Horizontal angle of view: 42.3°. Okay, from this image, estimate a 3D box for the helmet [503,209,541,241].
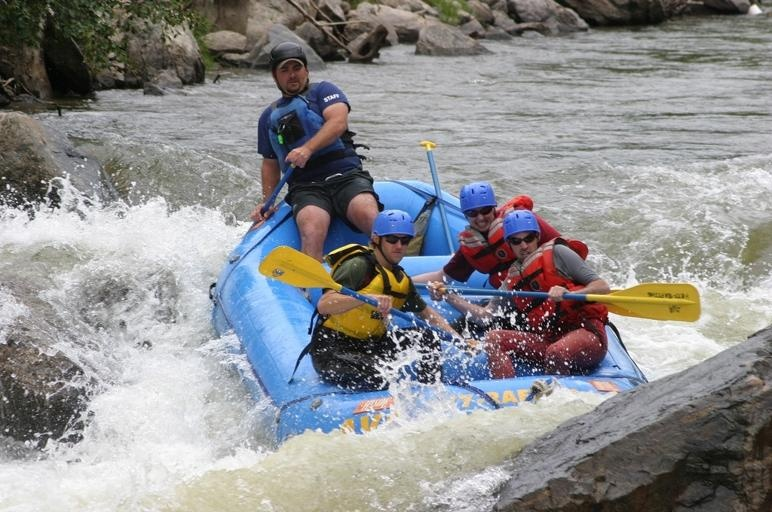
[{"bbox_3d":[1.201,-0.297,8.836,0.248,0.279,0.244,-8,13,4],"label":"helmet"}]

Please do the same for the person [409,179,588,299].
[{"bbox_3d":[0.919,-0.165,9.364,1.302,0.484,1.233,-14,3,-12],"label":"person"}]

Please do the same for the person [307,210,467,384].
[{"bbox_3d":[-0.099,0.364,8.563,1.176,1.383,0.859,-13,24,-29],"label":"person"}]

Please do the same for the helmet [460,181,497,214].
[{"bbox_3d":[0.874,-0.516,9.455,0.283,0.335,0.247,-7,52,6],"label":"helmet"}]

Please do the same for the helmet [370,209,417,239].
[{"bbox_3d":[0.056,-0.277,8.674,0.272,0.156,0.289,5,4,-22],"label":"helmet"}]

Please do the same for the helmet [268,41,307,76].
[{"bbox_3d":[-1.038,-2.058,10.148,0.325,0.356,0.258,-10,66,-24],"label":"helmet"}]

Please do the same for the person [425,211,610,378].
[{"bbox_3d":[1.135,0.397,9.068,0.941,0.888,1.262,34,30,-19],"label":"person"}]

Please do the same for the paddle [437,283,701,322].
[{"bbox_3d":[1.863,0.397,8.811,1.749,0.354,0.400,2,20,9],"label":"paddle"}]

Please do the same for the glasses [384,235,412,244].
[{"bbox_3d":[0.101,-0.141,8.636,0.126,0.107,0.032,5,47,-7],"label":"glasses"}]
